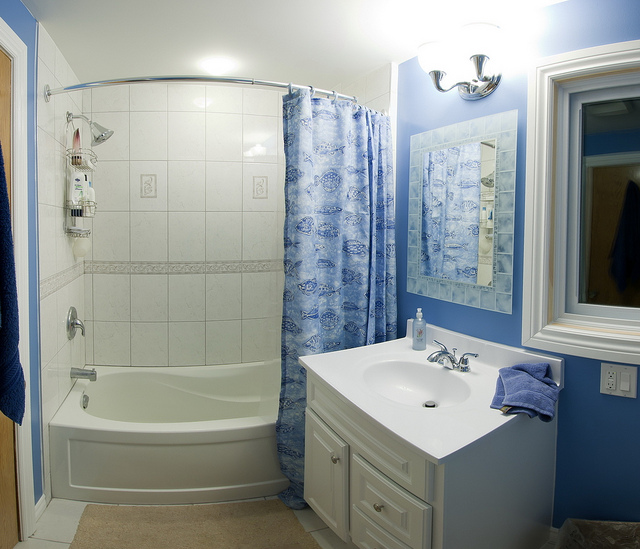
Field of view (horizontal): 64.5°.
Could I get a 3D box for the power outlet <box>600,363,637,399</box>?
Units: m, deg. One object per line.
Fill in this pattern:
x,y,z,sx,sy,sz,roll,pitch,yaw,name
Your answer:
1.260,0.441,2.129,0.140,0.181,0.022,3,6,41,power outlet

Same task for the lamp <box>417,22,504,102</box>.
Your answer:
0.673,-0.982,2.369,0.343,0.298,0.289,5,8,42,lamp

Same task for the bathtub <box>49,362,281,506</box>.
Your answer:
-0.874,0.928,3.112,1.297,0.510,0.897,-1,6,-6,bathtub

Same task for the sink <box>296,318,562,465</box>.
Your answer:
0.474,0.507,2.187,0.518,0.289,0.614,-3,5,-32,sink

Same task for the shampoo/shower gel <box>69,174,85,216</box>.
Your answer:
-1.444,-0.473,3.006,0.098,0.253,0.055,-1,6,-8,shampoo/shower gel

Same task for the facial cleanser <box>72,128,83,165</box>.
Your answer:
-1.431,-0.738,2.975,0.057,0.208,0.116,-3,6,-26,facial cleanser
